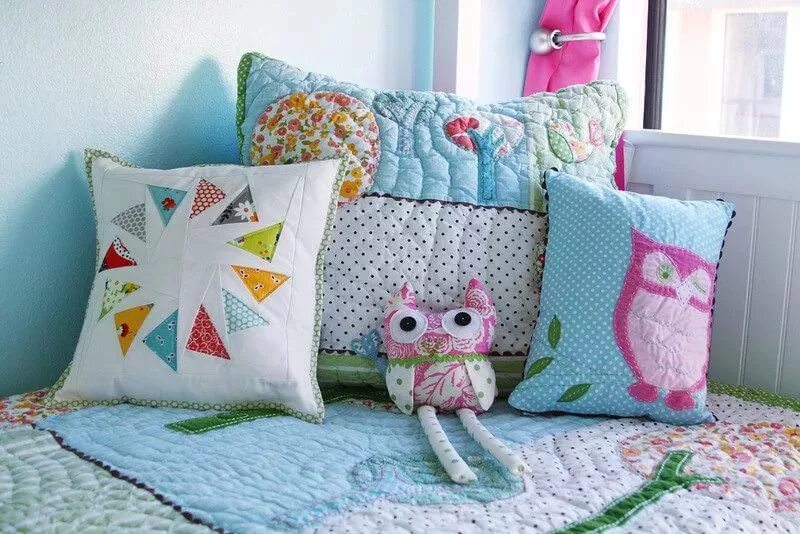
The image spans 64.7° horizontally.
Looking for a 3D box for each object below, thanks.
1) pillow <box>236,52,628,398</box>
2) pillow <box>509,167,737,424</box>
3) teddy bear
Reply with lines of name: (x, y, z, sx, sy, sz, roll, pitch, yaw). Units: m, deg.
pillow: (0.069, -0.115, 1.796, 1.074, 0.829, 0.381, 1, 14, -13)
pillow: (0.522, 0.077, 1.541, 0.505, 0.566, 0.229, 13, -10, 16)
teddy bear: (0.126, 0.243, 1.456, 0.304, 0.314, 0.516, -1, 17, -13)
